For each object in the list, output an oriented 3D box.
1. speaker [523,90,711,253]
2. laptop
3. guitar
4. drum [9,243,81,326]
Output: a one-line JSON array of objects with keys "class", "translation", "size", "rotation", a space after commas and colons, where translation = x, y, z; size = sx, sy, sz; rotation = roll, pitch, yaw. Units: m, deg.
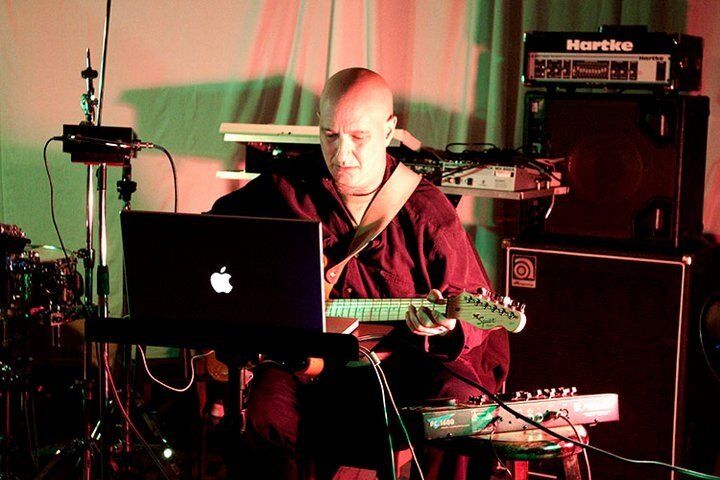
[{"class": "speaker", "translation": [1.287, -0.398, 4.540], "size": [1.184, 1.150, 0.732], "rotation": [3, 5, 21]}, {"class": "laptop", "translation": [-0.527, 0.116, 3.101], "size": [0.785, 0.425, 0.036], "rotation": [2, 6, 9]}, {"class": "guitar", "translation": [0.284, 0.278, 3.490], "size": [0.907, 0.144, 0.303], "rotation": [2, -26, 19]}, {"class": "drum", "translation": [-1.537, 0.202, 3.951], "size": [0.313, 0.303, 0.401], "rotation": [-2, 7, -37]}]
